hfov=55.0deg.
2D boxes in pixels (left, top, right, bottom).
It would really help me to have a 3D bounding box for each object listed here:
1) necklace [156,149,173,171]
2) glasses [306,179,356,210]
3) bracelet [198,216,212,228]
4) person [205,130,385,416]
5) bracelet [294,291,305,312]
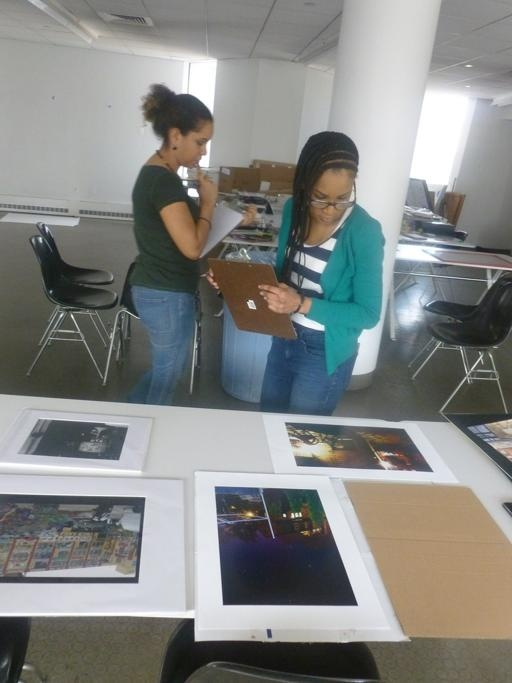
[{"bbox_3d":[-0.327,-0.643,1.733,0.063,0.061,0.056,15,28,12],"label":"necklace"},{"bbox_3d":[0.221,-0.391,1.309,0.151,0.076,0.082,-16,36,-40],"label":"glasses"},{"bbox_3d":[-0.189,-0.443,1.819,0.036,0.026,0.036,0,5,-18],"label":"bracelet"},{"bbox_3d":[0.139,-0.138,1.465,0.460,0.905,0.328,22,30,23],"label":"person"},{"bbox_3d":[0.114,-0.110,1.373,0.011,0.042,0.040,9,25,-21],"label":"bracelet"}]
